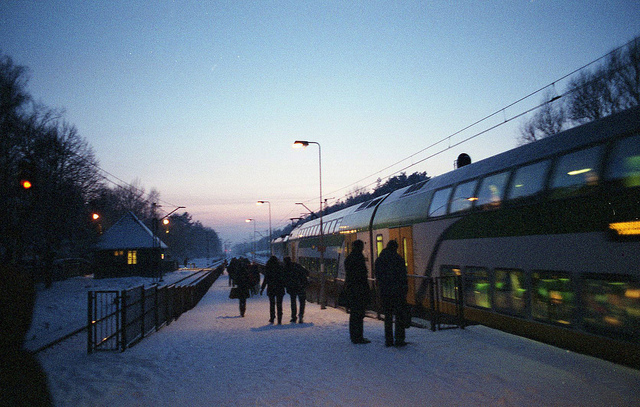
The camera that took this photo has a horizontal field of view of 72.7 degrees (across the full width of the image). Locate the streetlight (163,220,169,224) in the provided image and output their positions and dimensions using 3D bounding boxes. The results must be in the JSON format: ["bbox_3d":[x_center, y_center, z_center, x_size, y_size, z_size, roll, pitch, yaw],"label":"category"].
[{"bbox_3d":[-14.825,1.827,41.810,0.497,0.274,0.504,6,1,36],"label":"streetlight"}]

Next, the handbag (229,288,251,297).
[{"bbox_3d":[-3.588,3.786,18.574,1.057,0.403,0.447,-7,-7,38],"label":"handbag"}]
